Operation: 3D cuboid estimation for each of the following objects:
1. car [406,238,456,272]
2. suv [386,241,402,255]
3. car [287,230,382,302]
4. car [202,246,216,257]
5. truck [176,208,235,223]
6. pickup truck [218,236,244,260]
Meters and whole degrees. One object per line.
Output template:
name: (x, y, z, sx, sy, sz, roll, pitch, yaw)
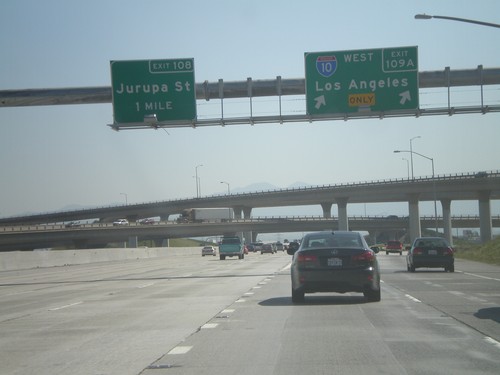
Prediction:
car: (9.534, 3.595, 30.817, 2.278, 1.823, 1.235, -1, -1, 22)
suv: (20.387, 8.541, 82.578, 1.502, 1.371, 3.549, 1, 5, 12)
car: (2.458, 2.333, 16.963, 2.499, 2.053, 1.221, -1, -1, 4)
car: (-6.102, 9.703, 88.106, 1.188, 1.004, 2.632, 0, -1, 5)
truck: (-8.654, 5.484, 115.806, 9.704, 2.594, 5.271, -1, -2, -15)
pickup truck: (-1.939, 6.511, 62.233, 2.444, 2.420, 3.836, -1, -1, -5)
